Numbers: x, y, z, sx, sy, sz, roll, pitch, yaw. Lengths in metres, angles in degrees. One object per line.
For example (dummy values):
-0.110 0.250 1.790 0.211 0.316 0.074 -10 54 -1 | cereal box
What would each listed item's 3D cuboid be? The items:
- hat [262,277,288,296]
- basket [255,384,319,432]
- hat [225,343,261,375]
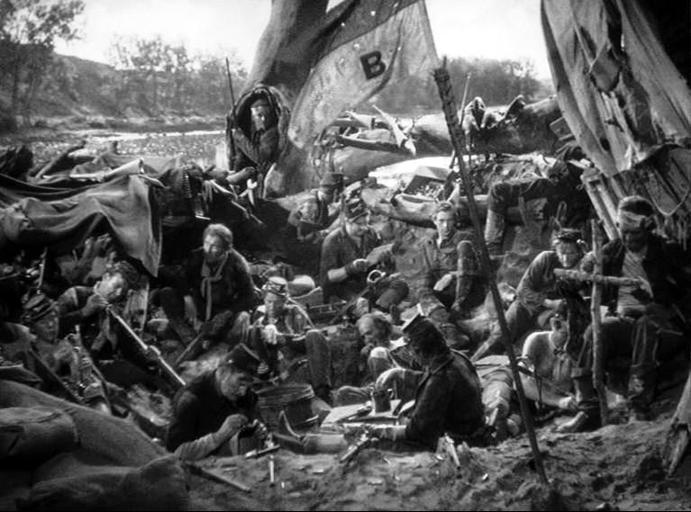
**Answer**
-0.810 0.356 8.642 0.254 0.239 0.183 25 -5 -33 | hat
-0.676 1.781 8.266 0.699 0.549 0.714 -5 -5 -30 | basket
-1.127 1.162 8.222 0.269 0.126 0.318 40 2 -27 | hat
